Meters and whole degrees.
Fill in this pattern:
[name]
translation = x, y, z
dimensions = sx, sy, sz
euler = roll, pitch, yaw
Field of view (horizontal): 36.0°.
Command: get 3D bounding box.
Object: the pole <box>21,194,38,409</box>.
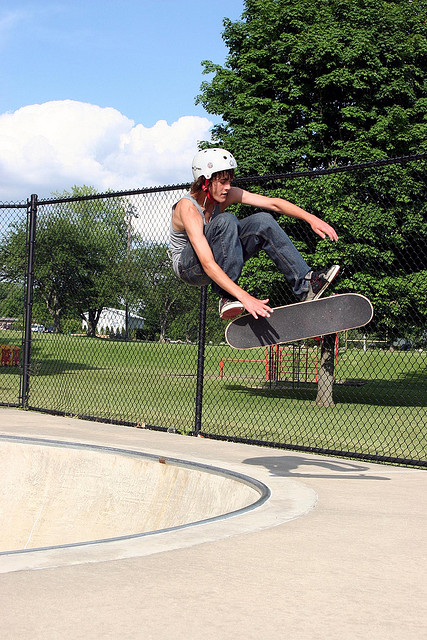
[pole]
translation = -2.320, -0.218, 8.290
dimensions = 0.095, 2.693, 0.351
euler = 3, 2, -15

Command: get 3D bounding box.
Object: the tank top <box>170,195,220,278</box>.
[tank top]
translation = -0.104, -0.535, 4.265
dimensions = 0.319, 0.437, 0.234
euler = 8, -32, 16

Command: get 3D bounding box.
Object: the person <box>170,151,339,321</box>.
[person]
translation = 0.182, -0.506, 3.868
dimensions = 0.961, 0.941, 0.771
euler = 5, 20, 38
